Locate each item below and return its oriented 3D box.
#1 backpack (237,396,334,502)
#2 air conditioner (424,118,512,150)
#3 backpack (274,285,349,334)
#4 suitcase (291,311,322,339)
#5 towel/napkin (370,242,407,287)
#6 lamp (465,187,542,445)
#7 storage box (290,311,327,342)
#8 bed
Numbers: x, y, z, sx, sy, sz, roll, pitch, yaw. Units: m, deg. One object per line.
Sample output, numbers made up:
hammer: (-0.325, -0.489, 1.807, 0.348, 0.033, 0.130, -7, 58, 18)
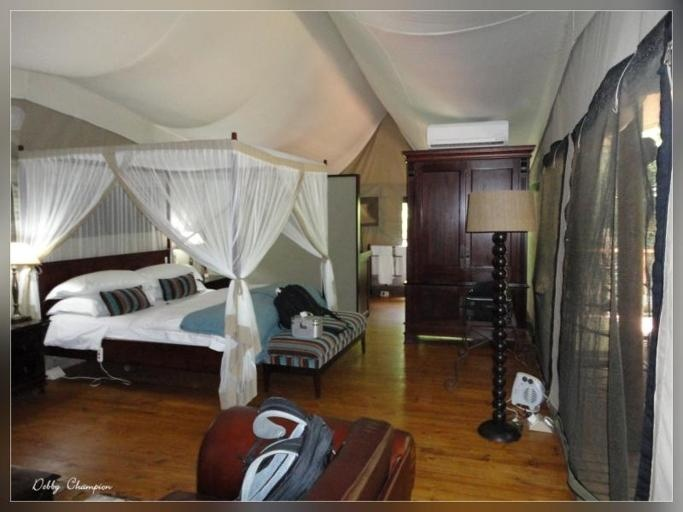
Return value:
backpack: (-0.241, 0.879, 2.247, 0.407, 0.169, 0.389, -22, 24, 10)
air conditioner: (1.449, -1.409, 5.964, 0.904, 0.299, 0.183, 2, 10, 12)
backpack: (-0.407, 0.507, 5.403, 0.576, 0.216, 0.450, 14, 7, 10)
suitcase: (-0.336, 0.674, 5.011, 0.274, 0.248, 0.216, 2, 5, 19)
towel/napkin: (0.916, 0.198, 10.155, 0.684, 0.787, 0.264, 2, 10, 15)
lamp: (1.269, 0.446, 4.111, 0.516, 1.915, 0.618, -1, 10, -4)
storage box: (-0.335, 0.675, 4.996, 0.272, 0.238, 0.226, 2, 5, 18)
bed: (-1.467, 0.006, 5.986, 2.565, 2.152, 2.658, 0, 0, 18)
